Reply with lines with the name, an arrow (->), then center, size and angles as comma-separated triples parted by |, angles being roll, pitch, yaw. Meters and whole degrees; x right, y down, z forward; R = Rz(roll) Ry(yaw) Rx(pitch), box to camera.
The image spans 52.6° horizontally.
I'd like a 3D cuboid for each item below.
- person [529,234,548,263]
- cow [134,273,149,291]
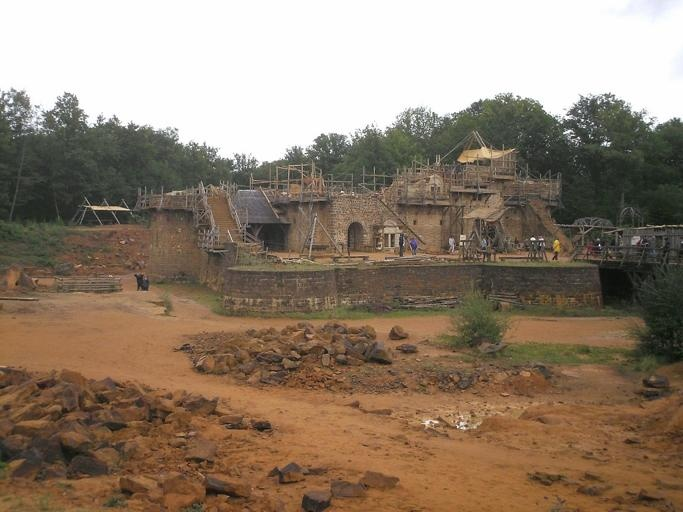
person -> 12.608, -0.447, 44.383 | 0.896, 1.518, 3.059 | 0, -3, 19
cow -> -12.614, 1.693, 43.830 | 0.804, 1.034, 1.923 | -1, -4, -16
